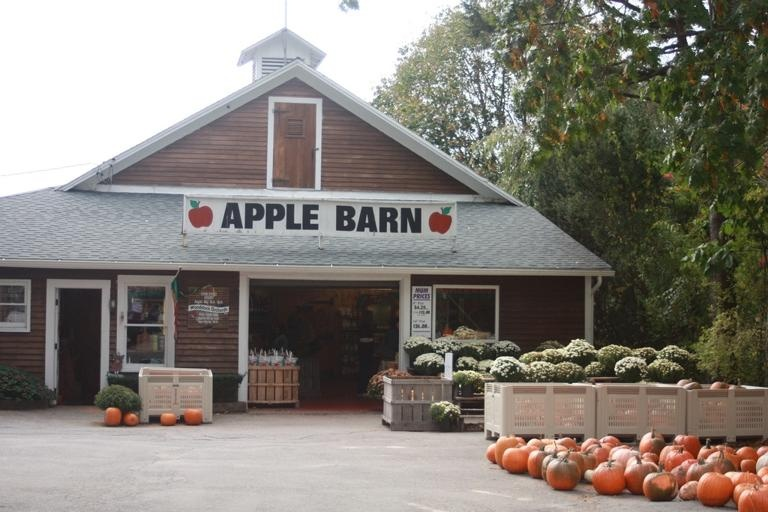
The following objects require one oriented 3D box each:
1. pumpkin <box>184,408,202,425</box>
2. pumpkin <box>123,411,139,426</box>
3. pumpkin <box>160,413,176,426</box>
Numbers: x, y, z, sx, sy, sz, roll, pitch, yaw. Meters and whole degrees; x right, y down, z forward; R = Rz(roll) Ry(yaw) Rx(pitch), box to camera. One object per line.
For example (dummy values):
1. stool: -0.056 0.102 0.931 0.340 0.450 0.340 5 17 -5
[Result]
1. pumpkin: -4.289 3.602 20.934 0.350 0.305 0.347 -6 -2 2
2. pumpkin: -5.634 3.598 20.661 0.286 0.294 0.263 7 -12 -37
3. pumpkin: -4.840 3.626 20.872 0.337 0.282 0.252 6 -11 -33
